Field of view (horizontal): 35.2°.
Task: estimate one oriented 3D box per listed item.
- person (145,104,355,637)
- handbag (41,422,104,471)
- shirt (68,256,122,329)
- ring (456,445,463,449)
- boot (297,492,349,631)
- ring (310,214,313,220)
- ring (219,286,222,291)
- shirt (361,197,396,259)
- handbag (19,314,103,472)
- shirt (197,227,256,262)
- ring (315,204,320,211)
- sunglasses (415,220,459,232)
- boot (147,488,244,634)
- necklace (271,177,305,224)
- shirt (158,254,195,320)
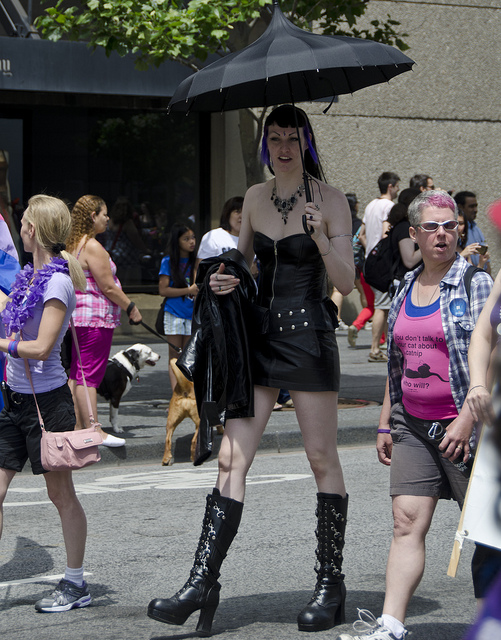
[{"bbox_3d":[0.052,0.183,3.381,0.797,2.219,0.639,-2,2,-11],"label":"person"},{"bbox_3d":[-0.803,0.531,3.487,0.150,0.250,0.285,-9,-4,41],"label":"handbag"},{"bbox_3d":[-1.306,-0.155,6.569,0.273,0.449,0.508,-1,1,29],"label":"shirt"},{"bbox_3d":[0.736,0.451,2.805,0.009,0.018,0.036,0,1,41],"label":"ring"},{"bbox_3d":[0.301,1.007,3.353,0.169,0.547,0.373,-1,2,29],"label":"boot"},{"bbox_3d":[0.246,-0.415,3.237,0.006,0.016,0.013,5,3,15],"label":"ring"},{"bbox_3d":[-0.132,-0.129,3.360,0.016,0.023,0.014,2,-1,23],"label":"ring"},{"bbox_3d":[1.869,-1.374,11.637,0.413,0.850,0.999,-1,1,8],"label":"shirt"},{"bbox_3d":[-0.872,0.347,3.621,0.347,0.726,0.476,-2,1,-13],"label":"handbag"},{"bbox_3d":[-0.295,-0.724,7.494,0.333,0.297,0.458,-2,1,-19],"label":"shirt"},{"bbox_3d":[0.279,-0.469,3.342,0.013,0.030,0.022,-22,36,-7],"label":"ring"},{"bbox_3d":[0.729,-0.364,3.127,0.162,0.049,0.094,-1,1,9],"label":"sunglasses"},{"bbox_3d":[-0.227,0.996,3.132,0.195,0.595,0.418,0,2,36],"label":"boot"},{"bbox_3d":[0.153,-0.515,3.479,0.156,0.198,0.107,-1,2,25],"label":"necklace"},{"bbox_3d":[-0.744,-0.321,7.949,0.329,0.656,0.284,-2,2,-5],"label":"shirt"}]
